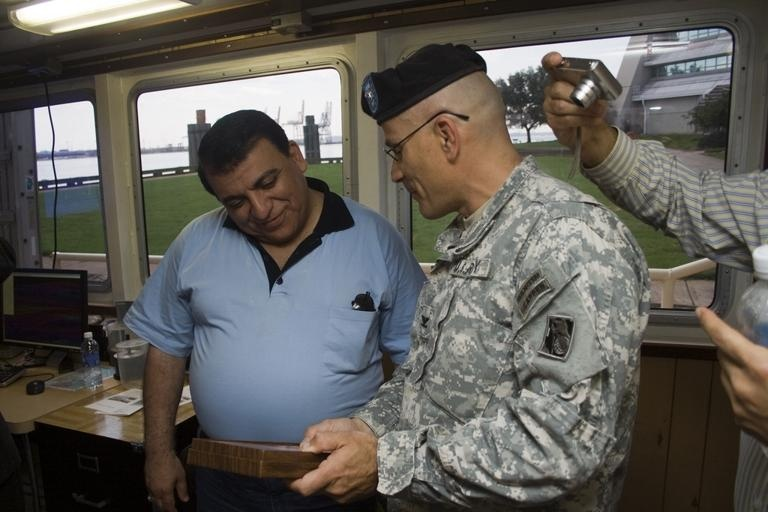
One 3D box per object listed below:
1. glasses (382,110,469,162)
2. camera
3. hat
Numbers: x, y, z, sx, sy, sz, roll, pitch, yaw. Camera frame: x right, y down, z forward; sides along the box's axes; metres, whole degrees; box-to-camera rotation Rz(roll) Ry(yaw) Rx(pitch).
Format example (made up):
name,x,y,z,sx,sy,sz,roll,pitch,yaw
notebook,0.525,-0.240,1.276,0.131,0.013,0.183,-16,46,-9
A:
name,x,y,z,sx,sy,sz,roll,pitch,yaw
glasses,0.140,-0.475,2.337,0.213,0.063,0.207,-34,-7,17
camera,0.745,-0.647,2.268,0.209,0.135,0.236,31,10,-30
hat,0.144,-0.721,2.452,0.532,0.241,0.393,-28,12,-14
